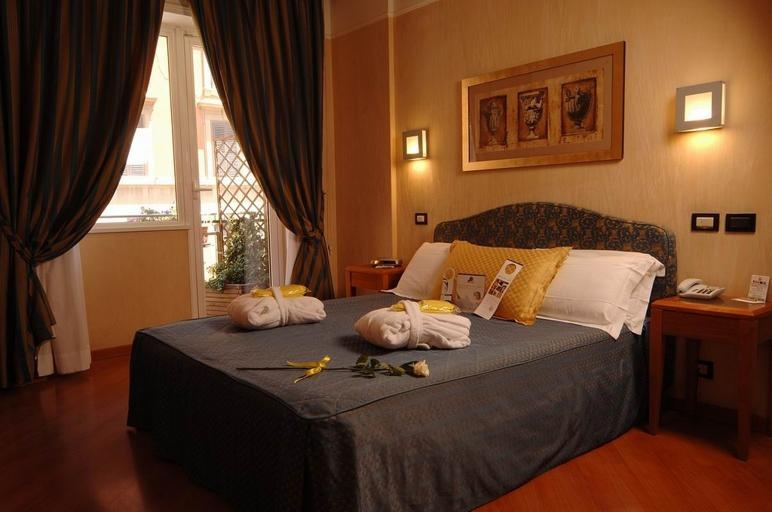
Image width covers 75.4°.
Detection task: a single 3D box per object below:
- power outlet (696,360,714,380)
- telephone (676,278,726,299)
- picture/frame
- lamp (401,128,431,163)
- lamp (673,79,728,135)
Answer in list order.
[{"bbox_3d":[2.305,0.815,3.605,0.123,0.128,0.122,-9,15,-38],"label":"power outlet"},{"bbox_3d":[2.132,0.232,3.424,0.160,0.068,0.191,-8,8,-32],"label":"telephone"},{"bbox_3d":[1.359,-1.257,4.191,0.055,0.807,1.287,-3,2,-45],"label":"picture/frame"},{"bbox_3d":[0.241,-1.120,5.065,0.261,0.266,0.099,-16,21,-39],"label":"lamp"},{"bbox_3d":[2.196,-1.026,3.469,0.375,0.409,0.136,3,4,43],"label":"lamp"}]
